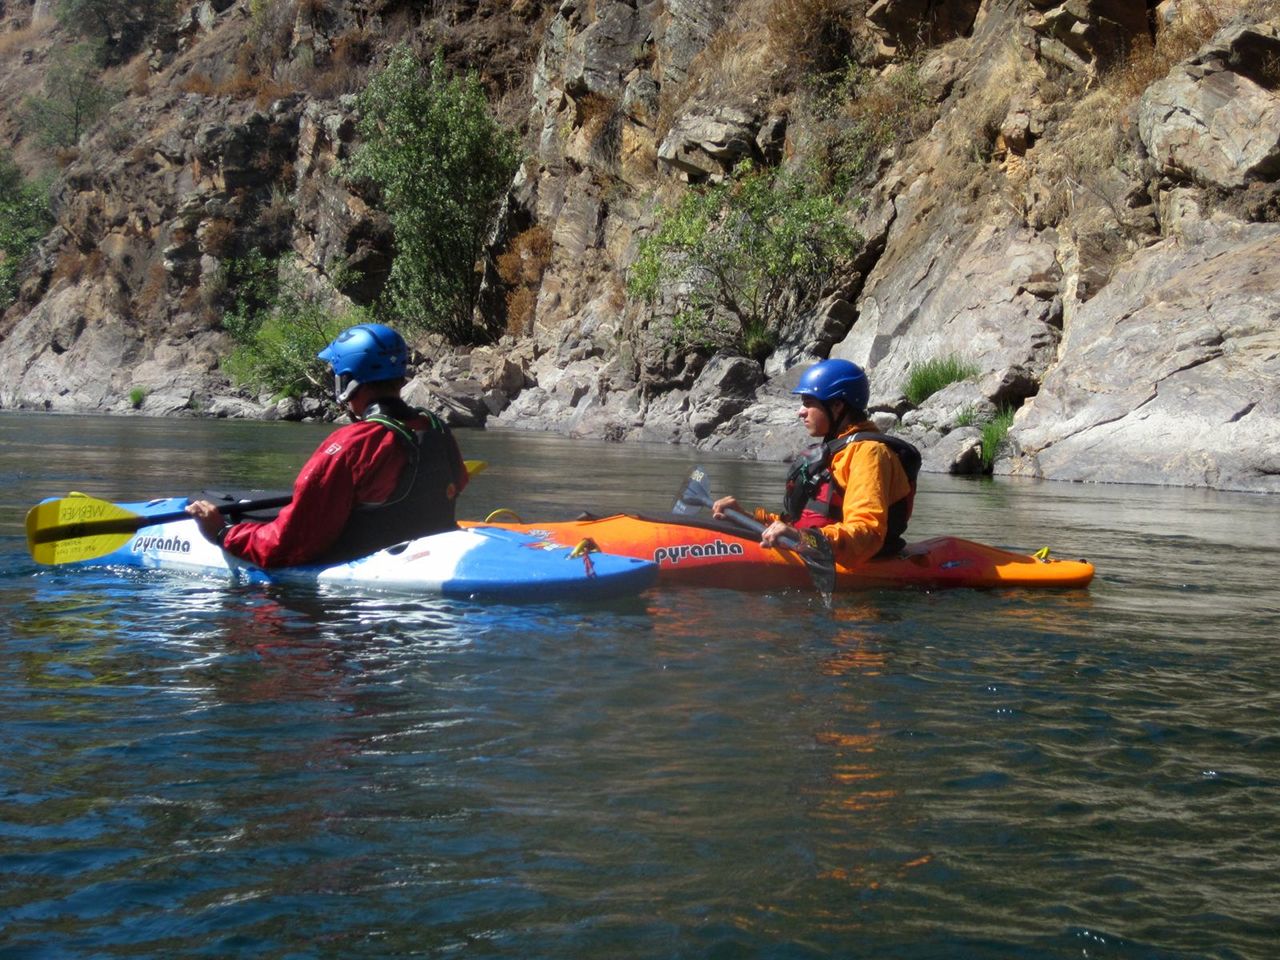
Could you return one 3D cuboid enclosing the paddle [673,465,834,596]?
[{"bbox_3d":[0.673,0.317,8.201,1.138,0.454,0.444,27,32,23],"label":"paddle"}]

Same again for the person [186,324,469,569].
[{"bbox_3d":[-1.871,-0.161,8.402,1.906,1.055,1.167,4,11,24],"label":"person"}]

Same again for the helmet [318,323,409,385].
[{"bbox_3d":[-1.530,-0.739,8.110,0.399,0.220,0.535,-11,20,-38],"label":"helmet"}]

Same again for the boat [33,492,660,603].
[{"bbox_3d":[-1.861,0.445,8.305,3.749,0.436,1.146,1,-2,11],"label":"boat"}]

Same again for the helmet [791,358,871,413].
[{"bbox_3d":[1.123,-0.527,8.313,0.458,0.202,0.296,-2,7,-11],"label":"helmet"}]
